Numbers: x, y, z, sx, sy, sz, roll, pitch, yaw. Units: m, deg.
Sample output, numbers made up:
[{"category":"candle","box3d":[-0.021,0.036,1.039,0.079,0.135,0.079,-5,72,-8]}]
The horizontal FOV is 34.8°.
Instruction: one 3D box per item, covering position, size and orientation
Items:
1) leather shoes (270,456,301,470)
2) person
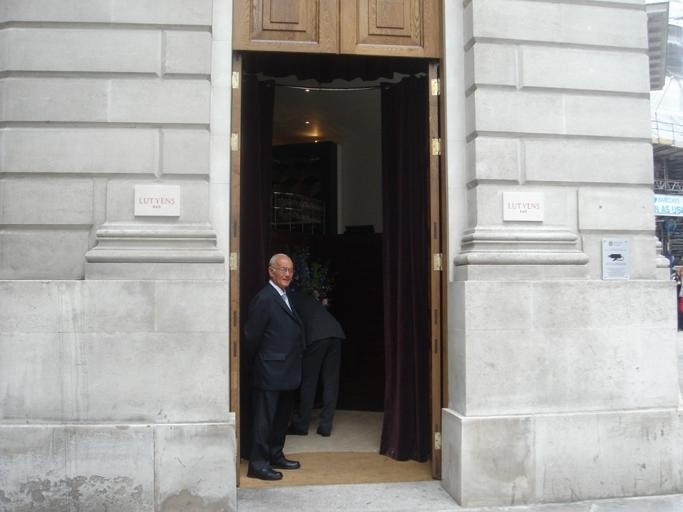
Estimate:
[{"category":"leather shoes","box3d":[-0.537,2.015,10.521,0.304,0.122,0.112,0,-2,-1]},{"category":"person","box3d":[-0.663,1.051,10.426,0.511,2.102,0.559,0,-1,13]}]
